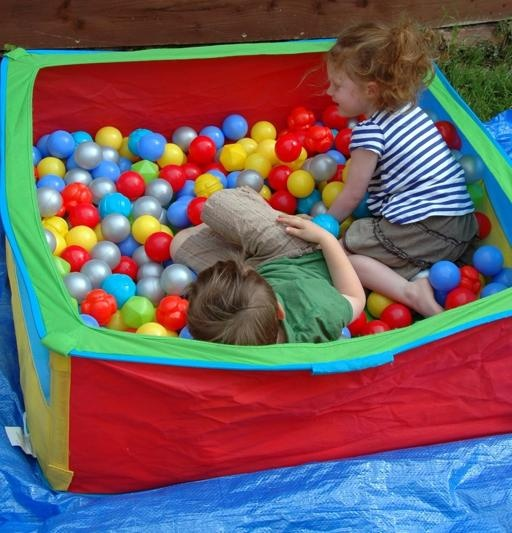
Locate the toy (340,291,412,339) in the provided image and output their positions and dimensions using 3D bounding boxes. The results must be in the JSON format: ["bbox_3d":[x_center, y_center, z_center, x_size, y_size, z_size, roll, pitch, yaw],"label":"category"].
[{"bbox_3d":[0.359,0.153,1.695,0.186,0.061,0.158,-4,20,22],"label":"toy"}]

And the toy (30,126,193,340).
[{"bbox_3d":[-0.486,-0.117,1.850,0.577,0.225,0.758,-5,48,-16],"label":"toy"}]

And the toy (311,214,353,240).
[{"bbox_3d":[0.233,-0.120,1.761,0.074,0.081,0.069,35,76,17],"label":"toy"}]
